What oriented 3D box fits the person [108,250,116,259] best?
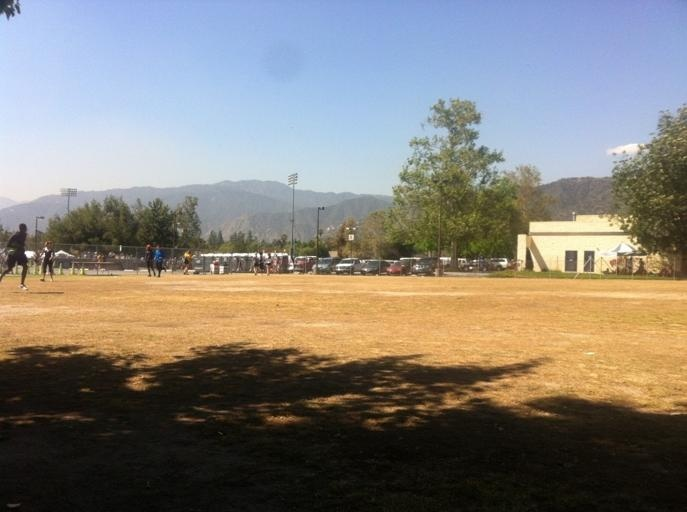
[{"bbox_3d":[-21.572,-0.150,60.230,0.749,0.627,0.272,1,2,9],"label":"person"}]
